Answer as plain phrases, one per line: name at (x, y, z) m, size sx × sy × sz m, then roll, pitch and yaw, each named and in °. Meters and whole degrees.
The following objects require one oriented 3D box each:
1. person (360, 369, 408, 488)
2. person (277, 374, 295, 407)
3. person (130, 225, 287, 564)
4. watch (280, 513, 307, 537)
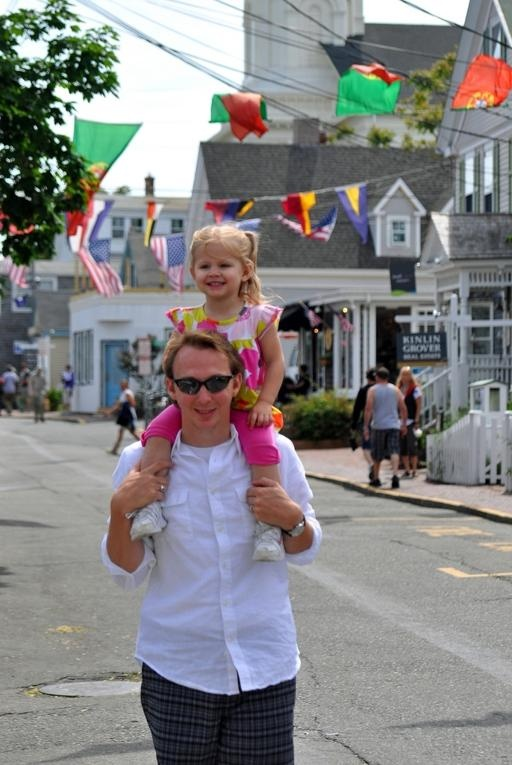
person at (1.691, 0.593, 16.270) m, size 0.546 × 1.572 × 1.051 m, roll 1°, pitch -1°, yaw 5°
person at (0.842, 0.233, 31.531) m, size 0.314 × 0.716 × 0.514 m, roll 15°, pitch -4°, yaw -18°
person at (-0.170, 0.020, 4.137) m, size 0.578 × 1.046 × 0.670 m, roll -2°, pitch 13°, yaw -3°
watch at (0.109, 0.403, 3.500) m, size 0.064 × 0.058 × 0.064 m, roll 24°, pitch 5°, yaw 1°
